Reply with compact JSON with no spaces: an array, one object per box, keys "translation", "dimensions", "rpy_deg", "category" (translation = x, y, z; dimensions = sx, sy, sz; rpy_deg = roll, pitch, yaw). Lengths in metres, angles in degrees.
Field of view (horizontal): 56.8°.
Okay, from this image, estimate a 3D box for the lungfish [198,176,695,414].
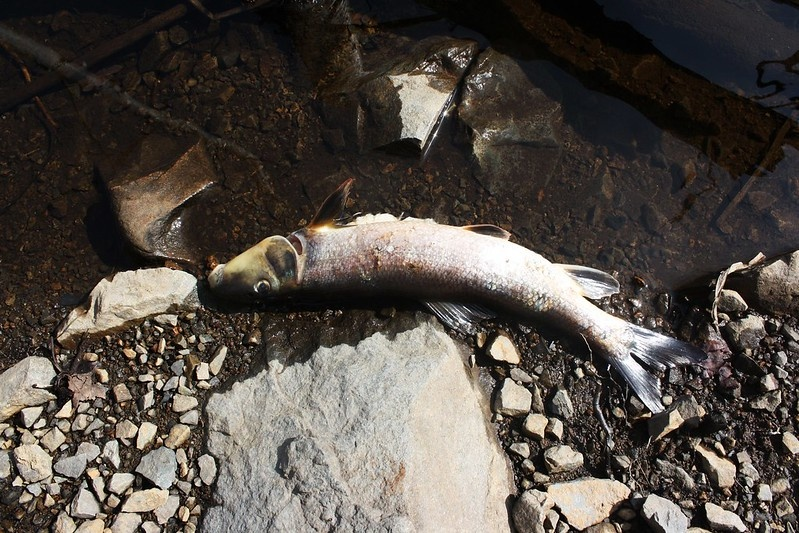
[{"translation":[0.792,0.361,10.077],"dimensions":[6.578,1.568,2.193],"rpy_deg":[12,48,1],"category":"lungfish"}]
